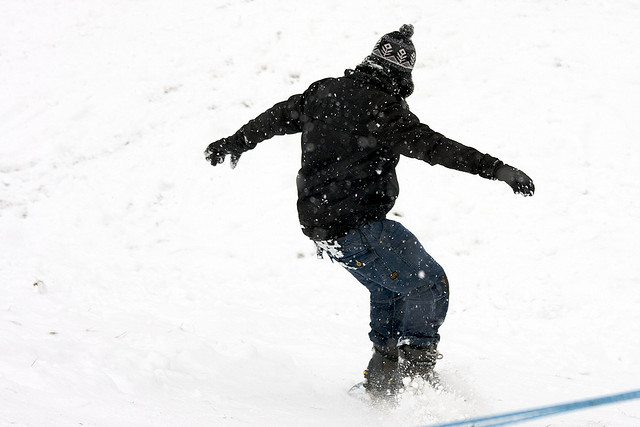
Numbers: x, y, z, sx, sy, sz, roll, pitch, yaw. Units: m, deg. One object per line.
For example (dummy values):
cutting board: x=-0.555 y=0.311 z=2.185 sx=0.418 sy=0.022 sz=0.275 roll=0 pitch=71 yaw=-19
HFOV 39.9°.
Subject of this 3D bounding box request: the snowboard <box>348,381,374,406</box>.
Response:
snowboard: x=0.496 y=2.225 z=10.903 sx=0.257 sy=0.068 sz=0.254 roll=-23 pitch=42 yaw=0
